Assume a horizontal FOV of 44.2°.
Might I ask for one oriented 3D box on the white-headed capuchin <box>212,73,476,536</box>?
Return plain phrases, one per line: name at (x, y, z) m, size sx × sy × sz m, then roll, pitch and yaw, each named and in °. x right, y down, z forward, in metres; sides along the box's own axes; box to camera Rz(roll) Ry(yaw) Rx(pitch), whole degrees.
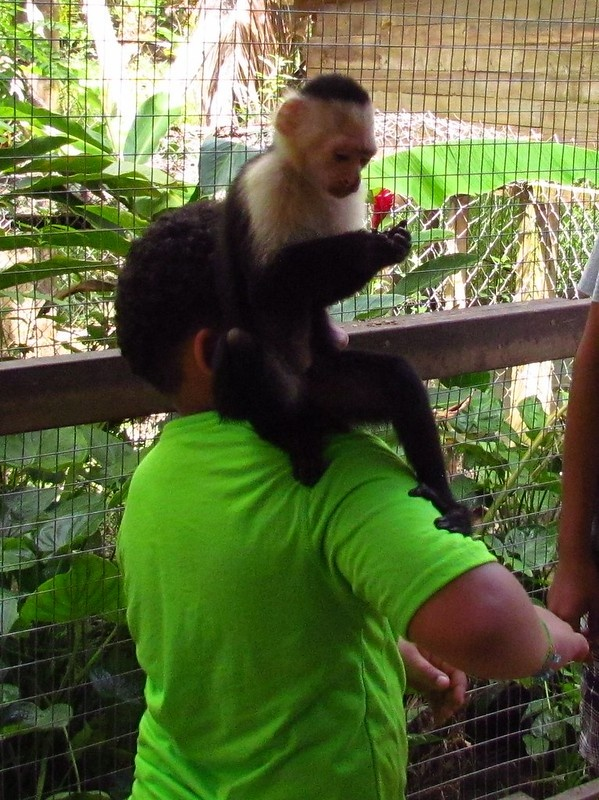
white-headed capuchin at (0.025, -0.146, 0.855) m, size 0.241 × 0.438 × 0.347 m, roll -2°, pitch 12°, yaw -2°
